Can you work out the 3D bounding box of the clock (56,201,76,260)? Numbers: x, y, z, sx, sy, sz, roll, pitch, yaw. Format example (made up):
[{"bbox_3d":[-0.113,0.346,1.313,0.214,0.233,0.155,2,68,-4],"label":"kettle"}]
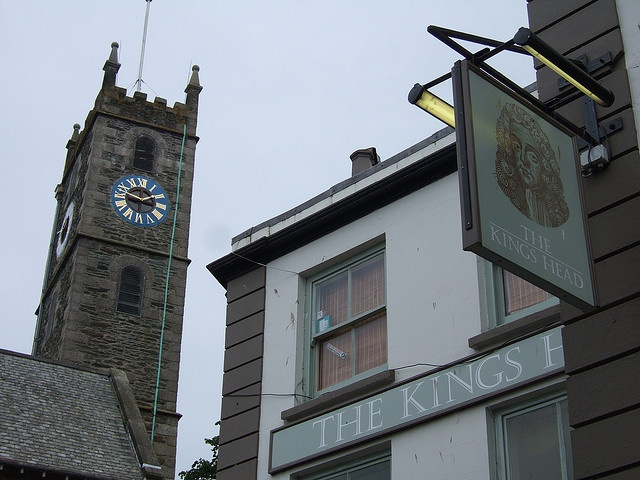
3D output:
[{"bbox_3d":[-10.422,-0.296,50.607,0.136,1.892,1.851,16,-33,-16],"label":"clock"}]
